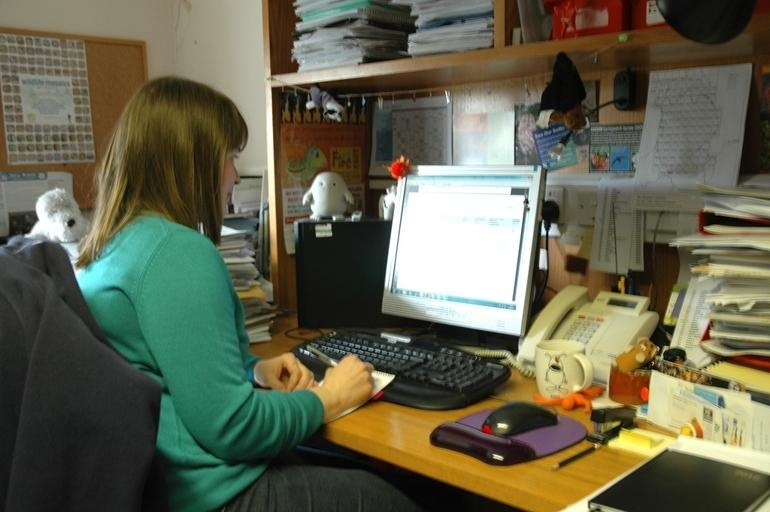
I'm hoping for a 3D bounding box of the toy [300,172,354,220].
[{"bbox_3d":[-0.187,-0.180,1.956,0.210,0.209,0.155,1,0,-6],"label":"toy"}]

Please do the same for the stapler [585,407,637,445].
[{"bbox_3d":[0.475,0.347,1.179,0.152,0.086,0.045,-4,2,-41],"label":"stapler"}]

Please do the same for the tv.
[{"bbox_3d":[0.226,0.006,1.588,0.505,0.528,0.173,6,1,34],"label":"tv"}]

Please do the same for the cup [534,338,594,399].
[{"bbox_3d":[0.412,0.269,1.378,0.097,0.112,0.152,-2,5,-19],"label":"cup"}]

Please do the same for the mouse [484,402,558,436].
[{"bbox_3d":[0.286,0.345,1.198,0.120,0.042,0.069,-8,11,-30],"label":"mouse"}]
